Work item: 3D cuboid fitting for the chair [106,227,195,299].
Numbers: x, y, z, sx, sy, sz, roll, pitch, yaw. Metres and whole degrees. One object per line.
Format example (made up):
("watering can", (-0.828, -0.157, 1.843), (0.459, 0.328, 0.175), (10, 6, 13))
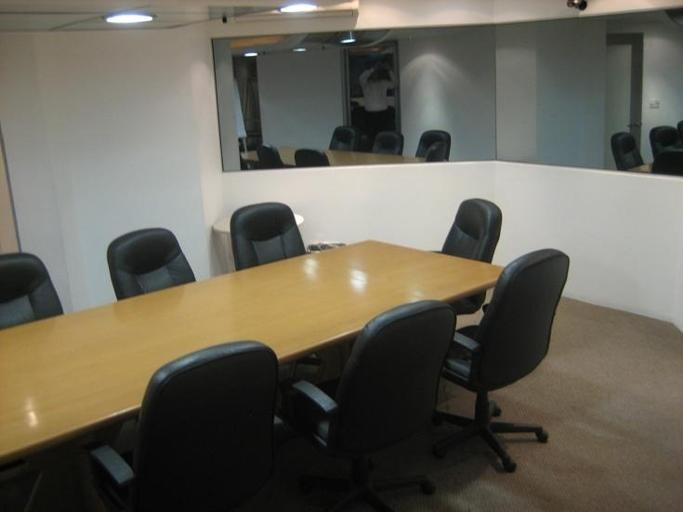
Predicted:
("chair", (-1.285, 0.059, 3.676), (0.418, 0.638, 0.511), (-20, 4, -36))

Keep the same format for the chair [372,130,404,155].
("chair", (0.501, -1.199, 5.683), (0.224, 0.355, 0.287), (3, 16, 14))

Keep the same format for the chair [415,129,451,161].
("chair", (0.964, -1.175, 5.652), (0.252, 0.363, 0.307), (4, 12, 27))

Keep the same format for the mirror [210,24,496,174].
("mirror", (0.173, -1.592, 5.468), (2.839, 1.297, 0.177), (-4, 16, -6))

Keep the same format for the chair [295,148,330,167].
("chair", (-0.319, -0.996, 5.533), (0.176, 0.113, 0.292), (7, 10, 37))

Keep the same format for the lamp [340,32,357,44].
("lamp", (0.064, -2.157, 5.360), (0.103, 0.082, 0.107), (5, 15, 21))
